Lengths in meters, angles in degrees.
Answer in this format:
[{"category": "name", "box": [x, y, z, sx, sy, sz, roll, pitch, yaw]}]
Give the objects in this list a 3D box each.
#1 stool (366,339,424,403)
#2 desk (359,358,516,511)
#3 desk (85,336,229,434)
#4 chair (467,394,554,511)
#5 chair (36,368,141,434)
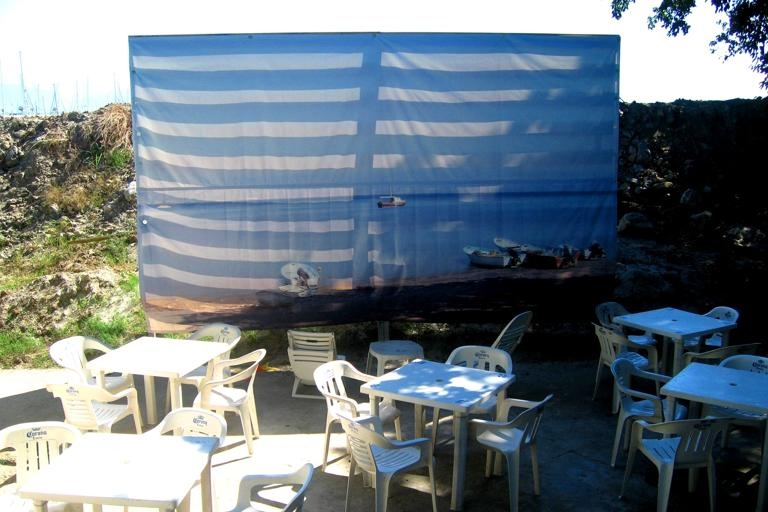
[{"category": "stool", "box": [0.155, 1.596, 8.827, 0.784, 0.436, 0.662, -2, 8, -13]}, {"category": "desk", "box": [0.693, 1.996, 7.347, 1.796, 1.216, 1.764, 12, 19, 39]}, {"category": "desk", "box": [-2.908, 1.427, 8.017, 1.651, 1.162, 1.446, 7, 14, 15]}, {"category": "chair", "box": [1.418, 2.113, 6.838, 0.738, 1.243, 1.069, 1, 6, 13]}, {"category": "chair", "box": [-3.431, 1.836, 7.118, 0.892, 0.830, 0.793, 3, 7, 23]}]
